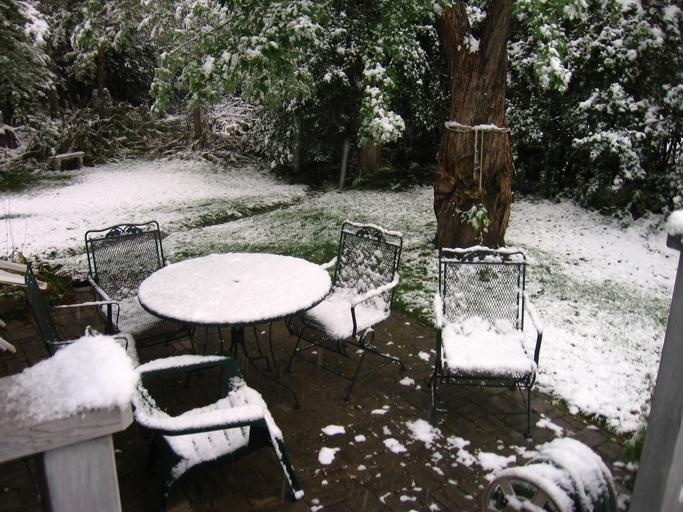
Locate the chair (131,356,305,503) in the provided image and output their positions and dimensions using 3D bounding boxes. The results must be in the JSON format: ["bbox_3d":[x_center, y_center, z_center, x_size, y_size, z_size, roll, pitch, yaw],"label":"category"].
[{"bbox_3d":[-0.989,1.385,4.133,1.170,0.902,1.082,-6,18,-33],"label":"chair"}]

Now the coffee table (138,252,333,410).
[{"bbox_3d":[-1.103,0.895,5.463,1.390,1.027,1.513,-8,33,-17],"label":"coffee table"}]

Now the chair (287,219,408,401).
[{"bbox_3d":[0.087,0.668,5.763,1.246,2.072,1.305,17,21,39],"label":"chair"}]

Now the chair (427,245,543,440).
[{"bbox_3d":[1.443,0.695,5.182,1.072,1.544,1.325,6,15,12],"label":"chair"}]
